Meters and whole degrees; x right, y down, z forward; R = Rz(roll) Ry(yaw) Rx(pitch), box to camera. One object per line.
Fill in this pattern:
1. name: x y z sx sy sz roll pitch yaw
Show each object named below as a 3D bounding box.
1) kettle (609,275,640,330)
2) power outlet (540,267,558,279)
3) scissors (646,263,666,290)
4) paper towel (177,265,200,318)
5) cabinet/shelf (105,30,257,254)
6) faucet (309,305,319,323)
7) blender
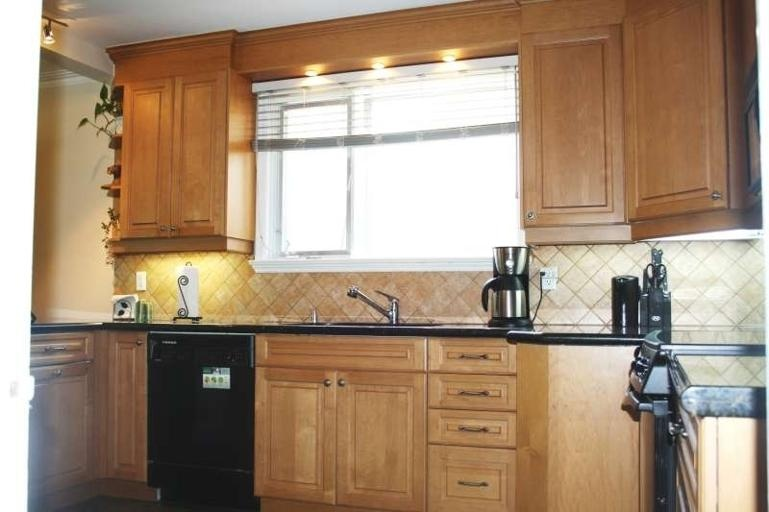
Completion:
1. kettle: 1.427 0.276 3.724 0.168 0.314 0.297 -3 -4 22
2. power outlet: 1.081 0.106 4.118 0.105 0.060 0.015 -1 -4 2
3. scissors: 1.615 0.126 3.768 0.130 0.180 0.121 -3 -4 20
4. paper towel: -1.378 0.249 4.448 0.134 0.381 0.221 0 -4 -21
5. cabinet/shelf: -1.420 -0.804 4.493 1.080 1.473 0.540 -1 1 20
6. faucet: -0.483 0.411 4.327 0.079 0.120 0.087 0 -3 11
7. blender: 0.748 0.187 3.873 0.283 0.490 0.359 -2 -4 11
